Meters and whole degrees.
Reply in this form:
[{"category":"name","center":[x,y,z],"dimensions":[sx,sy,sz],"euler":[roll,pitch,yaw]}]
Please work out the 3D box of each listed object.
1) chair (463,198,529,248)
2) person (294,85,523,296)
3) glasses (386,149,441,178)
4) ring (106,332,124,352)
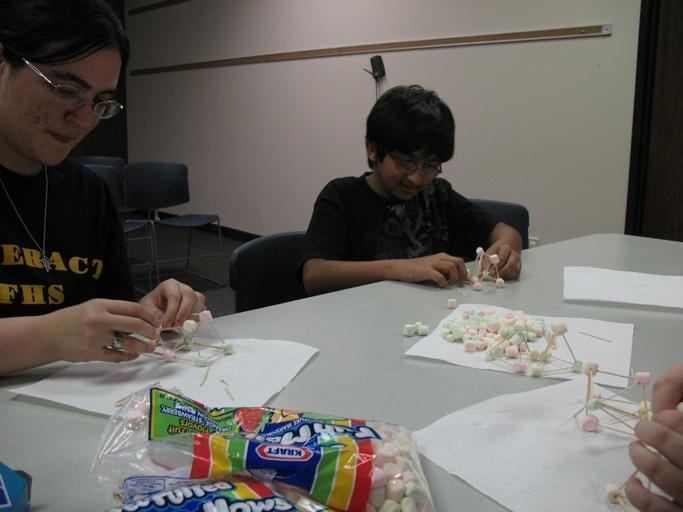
[{"category":"chair","center":[0.630,-0.129,2.148],"dimensions":[0.196,0.291,0.224],"euler":[4,3,15]},{"category":"person","center":[0.251,-0.139,1.742],"dimensions":[0.757,0.838,0.609],"euler":[-1,9,-15]},{"category":"glasses","center":[0.257,-0.300,1.693],"dimensions":[0.205,0.077,0.082],"euler":[-2,6,-28]},{"category":"ring","center":[-0.414,0.158,0.953],"dimensions":[0.030,0.038,0.032],"euler":[8,-10,1]}]
